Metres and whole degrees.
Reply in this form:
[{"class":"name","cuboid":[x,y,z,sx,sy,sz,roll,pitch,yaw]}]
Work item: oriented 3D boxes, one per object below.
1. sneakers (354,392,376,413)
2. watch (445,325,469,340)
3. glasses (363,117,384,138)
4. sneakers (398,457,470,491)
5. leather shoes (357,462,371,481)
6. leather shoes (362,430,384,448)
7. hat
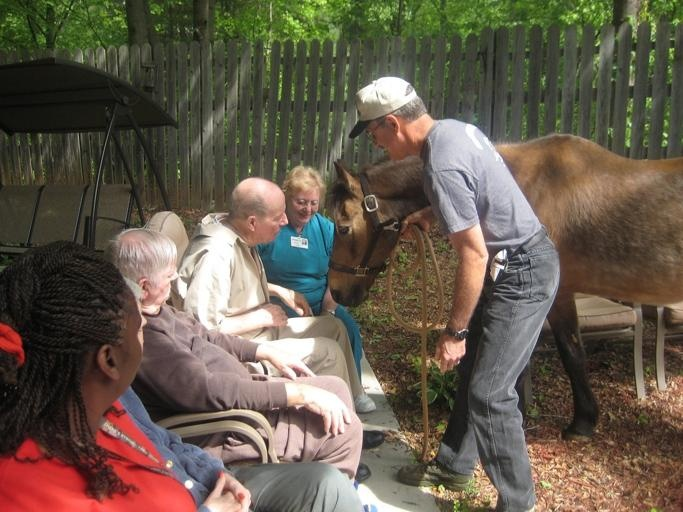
[{"class":"sneakers","cuboid":[0.187,1.189,5.756,0.121,0.102,0.221,1,-3,-17]},{"class":"watch","cuboid":[0.746,0.494,4.618,0.090,0.061,0.102,4,10,16]},{"class":"glasses","cuboid":[0.217,-0.872,4.710,0.108,0.059,0.105,-40,11,-4]},{"class":"sneakers","cuboid":[0.655,1.521,5.130,0.512,0.294,0.208,9,2,8]},{"class":"leather shoes","cuboid":[0.153,1.537,5.037,0.097,0.049,0.135,-1,10,2]},{"class":"leather shoes","cuboid":[0.232,1.388,5.397,0.146,0.063,0.115,-2,5,-35]},{"class":"hat","cuboid":[0.260,-1.048,4.712,0.402,0.216,0.300,-33,23,21]}]
